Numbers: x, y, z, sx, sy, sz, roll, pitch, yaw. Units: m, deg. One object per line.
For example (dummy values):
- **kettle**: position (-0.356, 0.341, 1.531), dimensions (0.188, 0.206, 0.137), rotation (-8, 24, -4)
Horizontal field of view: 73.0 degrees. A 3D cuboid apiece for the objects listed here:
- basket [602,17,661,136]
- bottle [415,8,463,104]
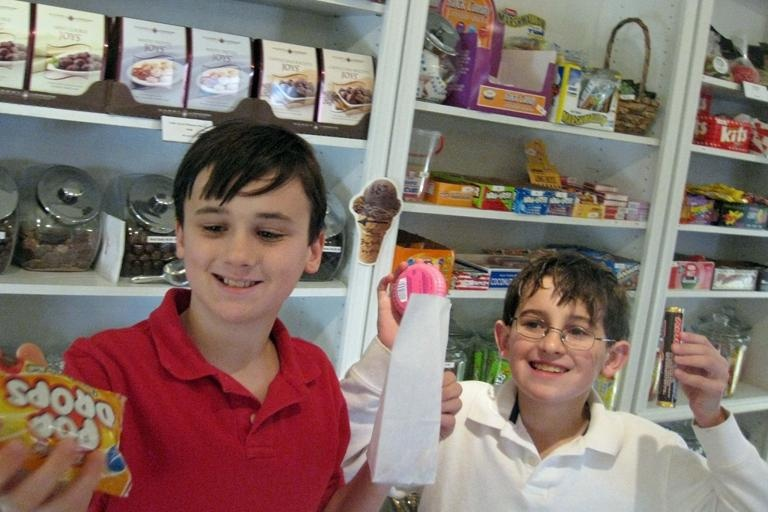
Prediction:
- **basket**: position (1.165, -0.854, 2.426), dimensions (0.259, 0.587, 0.397), rotation (5, 6, 20)
- **bottle**: position (0.212, -0.756, 1.996), dimensions (0.099, 0.323, 0.159), rotation (8, 7, 37)
